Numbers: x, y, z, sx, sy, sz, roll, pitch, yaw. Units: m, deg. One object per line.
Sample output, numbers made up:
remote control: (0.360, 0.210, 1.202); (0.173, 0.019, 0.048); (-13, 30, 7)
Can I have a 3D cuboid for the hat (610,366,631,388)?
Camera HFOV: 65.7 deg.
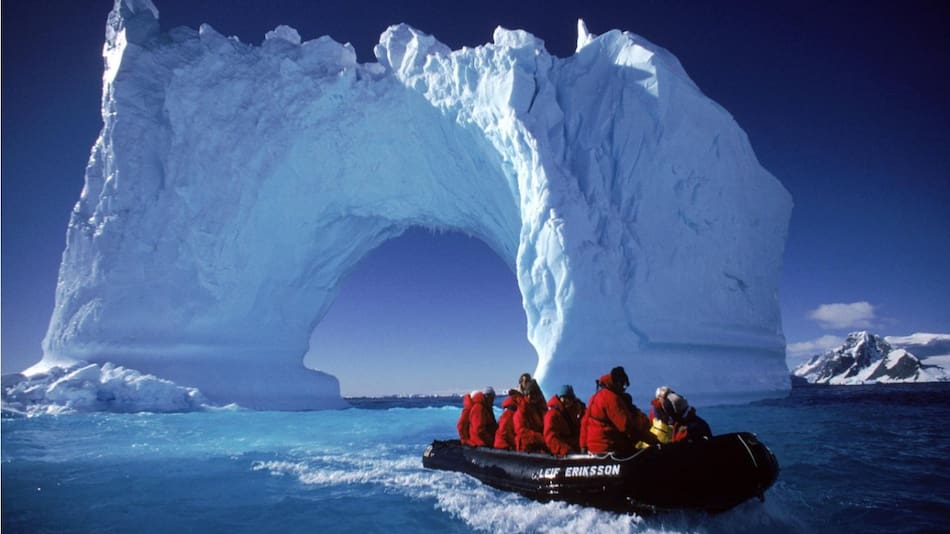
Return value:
hat: (4.125, 3.154, 21.048); (0.539, 0.646, 0.705); (4, -29, 6)
